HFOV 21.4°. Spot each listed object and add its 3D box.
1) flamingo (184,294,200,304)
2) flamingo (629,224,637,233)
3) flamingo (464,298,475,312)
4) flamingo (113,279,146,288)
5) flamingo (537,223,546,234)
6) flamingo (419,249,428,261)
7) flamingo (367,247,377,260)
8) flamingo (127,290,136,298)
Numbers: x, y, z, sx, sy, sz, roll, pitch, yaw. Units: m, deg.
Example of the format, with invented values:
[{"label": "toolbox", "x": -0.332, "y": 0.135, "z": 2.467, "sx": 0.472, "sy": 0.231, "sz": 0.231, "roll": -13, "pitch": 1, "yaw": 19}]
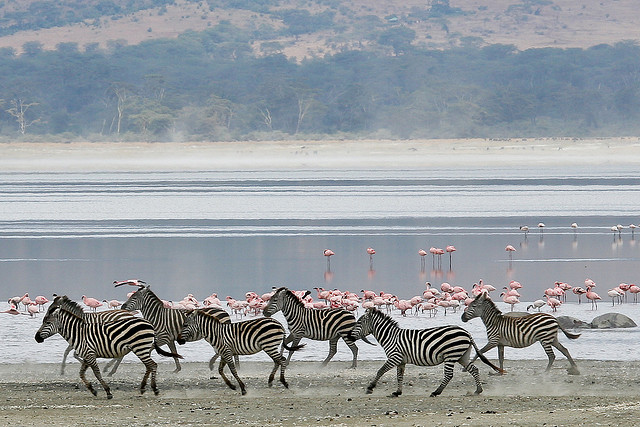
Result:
[{"label": "flamingo", "x": -17.923, "y": 11.228, "z": 225.767, "sx": 1.435, "sy": 0.519, "sz": 1.476, "roll": 4, "pitch": 13, "yaw": -37}, {"label": "flamingo", "x": 44.975, "y": 2.118, "z": 240.745, "sx": 0.937, "sy": 1.158, "sz": 1.606, "roll": 4, "pitch": 12, "yaw": 21}, {"label": "flamingo", "x": 20.048, "y": 12.015, "z": 225.686, "sx": 0.659, "sy": 1.567, "sz": 1.303, "roll": 28, "pitch": 0, "yaw": 5}, {"label": "flamingo", "x": -26.381, "y": 8.972, "z": 224.806, "sx": 4.119, "sy": 1.374, "sz": 1.508, "roll": -2, "pitch": -26, "yaw": 9}, {"label": "flamingo", "x": 31.694, "y": 1.800, "z": 240.620, "sx": 1.038, "sy": 0.897, "sz": 0.574, "roll": 3, "pitch": 11, "yaw": 15}, {"label": "flamingo", "x": 14.110, "y": 5.332, "z": 233.671, "sx": 0.999, "sy": 0.963, "sz": 0.676, "roll": 7, "pitch": 10, "yaw": 43}, {"label": "flamingo", "x": 6.616, "y": 5.356, "z": 234.547, "sx": 1.403, "sy": 1.747, "sz": 1.426, "roll": 5, "pitch": -29, "yaw": -5}, {"label": "flamingo", "x": -26.205, "y": 10.663, "z": 226.429, "sx": 1.300, "sy": 0.528, "sz": 1.033, "roll": -32, "pitch": 20, "yaw": -34}]
